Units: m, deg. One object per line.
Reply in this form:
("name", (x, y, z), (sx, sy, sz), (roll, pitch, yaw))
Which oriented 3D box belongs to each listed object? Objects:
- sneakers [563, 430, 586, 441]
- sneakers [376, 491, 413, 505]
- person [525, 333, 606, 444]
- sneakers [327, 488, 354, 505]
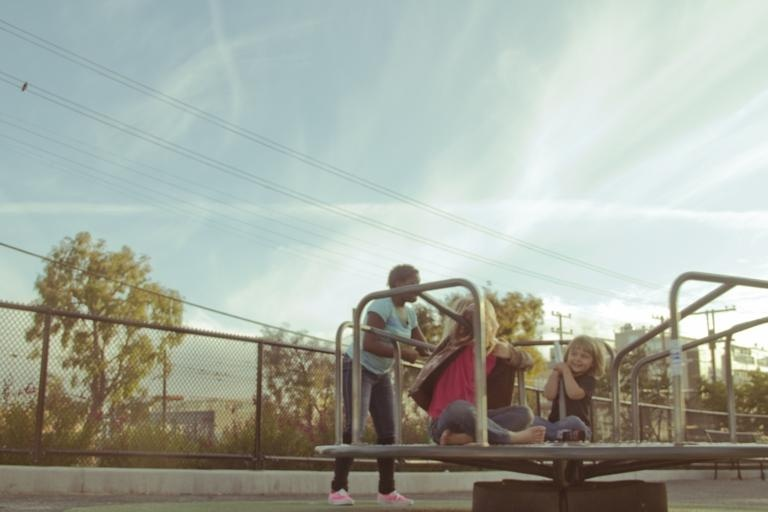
("sneakers", (1.655, 1.569, 6.149), (0.117, 0.051, 0.114), (7, -8, -45))
("sneakers", (0.120, 2.751, 8.060), (0.421, 0.187, 0.156), (1, -11, 0))
("person", (1.886, 1.357, 7.363), (0.684, 1.176, 0.702), (7, -10, 23))
("sneakers", (-0.506, 2.693, 7.833), (0.132, 0.127, 0.287), (12, -22, -29))
